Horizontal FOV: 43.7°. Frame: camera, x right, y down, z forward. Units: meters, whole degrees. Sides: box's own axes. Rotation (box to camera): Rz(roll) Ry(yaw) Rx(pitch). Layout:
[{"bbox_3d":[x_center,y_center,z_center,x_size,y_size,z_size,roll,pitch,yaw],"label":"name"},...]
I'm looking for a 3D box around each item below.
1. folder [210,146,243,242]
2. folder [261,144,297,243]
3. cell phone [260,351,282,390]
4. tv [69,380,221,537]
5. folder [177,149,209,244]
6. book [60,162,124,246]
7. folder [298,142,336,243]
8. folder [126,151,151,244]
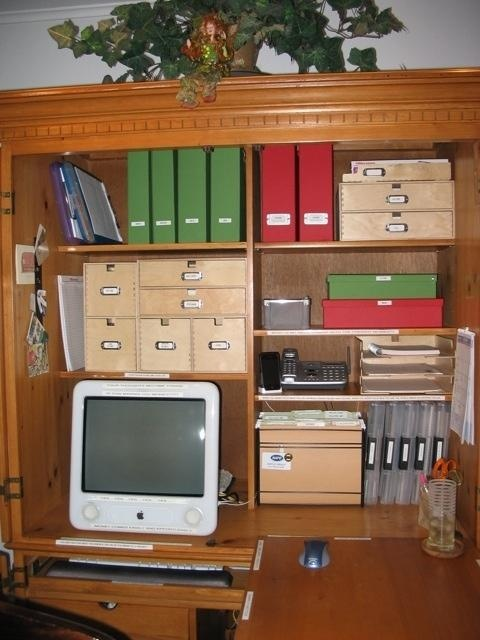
[{"bbox_3d":[-0.042,-0.426,1.962,0.104,0.291,0.303,0,2,3],"label":"folder"},{"bbox_3d":[0.130,-0.424,1.982,0.109,0.314,0.321,-1,4,5],"label":"folder"},{"bbox_3d":[0.111,0.183,2.078,0.073,0.127,0.014,-5,1,27],"label":"cell phone"},{"bbox_3d":[-0.291,0.458,1.913,0.508,0.473,0.283,0,-4,7],"label":"tv"},{"bbox_3d":[-0.152,-0.421,1.975,0.104,0.295,0.306,-1,3,2],"label":"folder"},{"bbox_3d":[-0.540,-0.421,2.161,0.045,0.287,0.396,-20,1,3],"label":"book"},{"bbox_3d":[0.251,-0.424,1.973,0.112,0.326,0.335,-1,2,5],"label":"folder"},{"bbox_3d":[-0.335,-0.411,2.072,0.091,0.338,0.119,-2,-4,1],"label":"folder"}]
